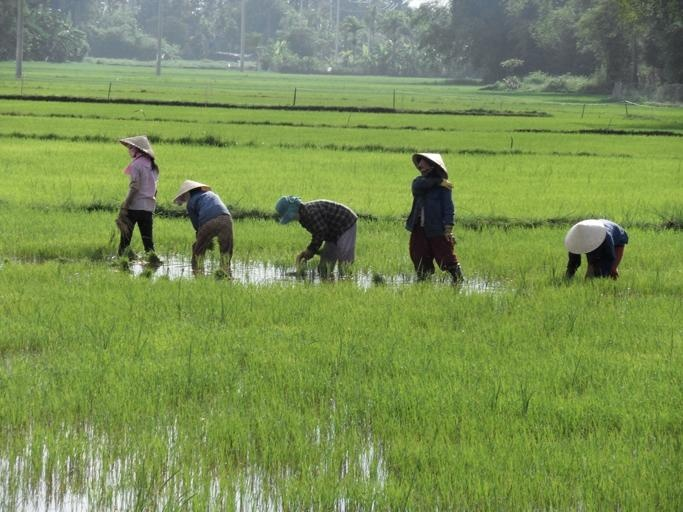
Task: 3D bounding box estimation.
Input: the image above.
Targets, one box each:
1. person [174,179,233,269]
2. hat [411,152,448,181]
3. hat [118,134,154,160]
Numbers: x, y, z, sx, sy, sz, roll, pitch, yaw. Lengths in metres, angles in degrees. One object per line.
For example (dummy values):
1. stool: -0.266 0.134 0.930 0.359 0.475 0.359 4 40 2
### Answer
1. person: -3.592 -0.801 27.788 1.367 2.299 0.486 3 8 13
2. hat: 2.351 -2.392 27.746 0.878 0.619 0.924 2 9 8
3. hat: -5.459 -2.941 28.222 0.759 0.552 1.320 -1 9 -12
